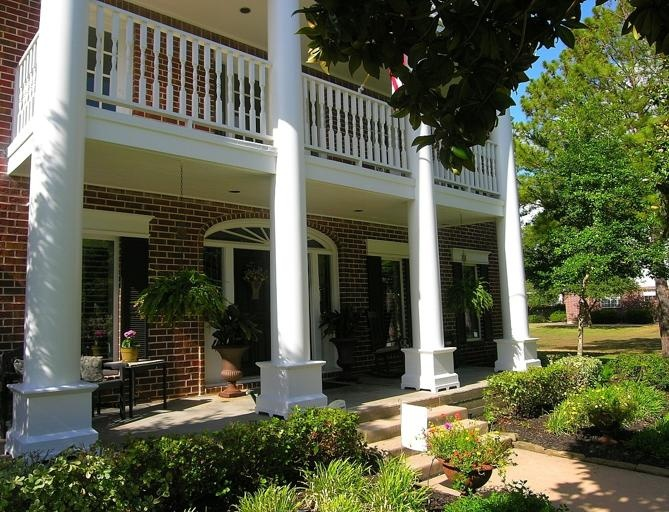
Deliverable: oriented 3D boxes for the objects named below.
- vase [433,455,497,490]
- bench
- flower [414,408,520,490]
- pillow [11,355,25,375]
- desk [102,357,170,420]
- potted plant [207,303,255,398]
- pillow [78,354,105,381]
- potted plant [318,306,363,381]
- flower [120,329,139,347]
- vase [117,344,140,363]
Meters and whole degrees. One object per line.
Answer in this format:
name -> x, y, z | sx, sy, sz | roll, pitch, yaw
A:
vase -> 1.526, 2.548, 6.417 | 0.532, 0.398, 0.543 | -3, -10, -5
bench -> -3.582, 1.771, 7.484 | 1.607, 1.052, 1.637 | 3, -12, -34
flower -> 1.673, 2.329, 6.653 | 0.971, 0.740, 1.051 | 6, -8, -18
pillow -> -4.036, 1.413, 7.084 | 0.095, 0.222, 0.359 | 3, -12, -33
desk -> -2.928, 1.777, 8.235 | 0.791, 0.971, 0.976 | -1, -3, 25
potted plant -> -1.653, 1.536, 8.975 | 0.656, 1.483, 0.897 | 1, -10, -25
pillow -> -3.192, 1.487, 7.312 | 0.260, 0.341, 0.306 | 1, -10, -24
potted plant -> 0.150, 1.711, 11.002 | 0.800, 1.450, 1.020 | -4, -9, 2
flower -> -3.016, 1.211, 8.199 | 0.271, 0.321, 0.236 | 2, -13, -9
vase -> -2.999, 1.419, 8.115 | 0.278, 0.215, 0.282 | -10, -15, 41
